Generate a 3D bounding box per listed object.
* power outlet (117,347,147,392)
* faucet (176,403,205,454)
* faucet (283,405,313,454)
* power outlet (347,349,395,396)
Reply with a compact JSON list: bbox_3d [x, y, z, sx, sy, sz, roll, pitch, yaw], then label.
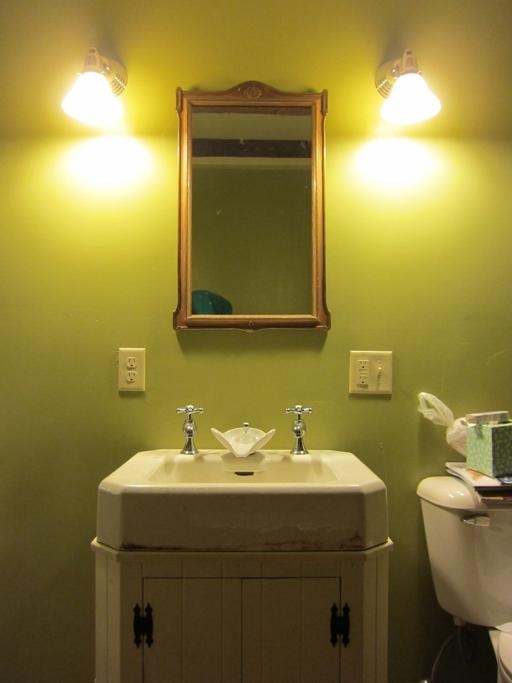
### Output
[{"bbox_3d":[-0.320,0.070,1.723,0.068,0.119,0.021,0,18,-11],"label":"power outlet"},{"bbox_3d":[-0.165,0.214,1.677,0.070,0.116,0.102,-1,4,-6],"label":"faucet"},{"bbox_3d":[0.106,0.214,1.682,0.070,0.116,0.088,0,4,3],"label":"faucet"},{"bbox_3d":[0.290,0.079,1.721,0.102,0.115,0.012,0,-2,-2],"label":"power outlet"}]
